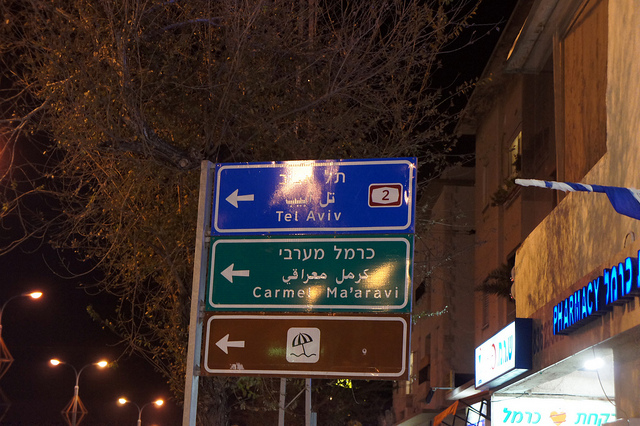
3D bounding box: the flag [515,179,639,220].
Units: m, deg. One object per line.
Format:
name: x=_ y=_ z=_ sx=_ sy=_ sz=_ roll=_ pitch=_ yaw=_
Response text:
flag: x=4.975 y=-0.247 z=17.826 sx=2.051 sy=0.718 sz=0.524 roll=3 pitch=-12 yaw=-18
